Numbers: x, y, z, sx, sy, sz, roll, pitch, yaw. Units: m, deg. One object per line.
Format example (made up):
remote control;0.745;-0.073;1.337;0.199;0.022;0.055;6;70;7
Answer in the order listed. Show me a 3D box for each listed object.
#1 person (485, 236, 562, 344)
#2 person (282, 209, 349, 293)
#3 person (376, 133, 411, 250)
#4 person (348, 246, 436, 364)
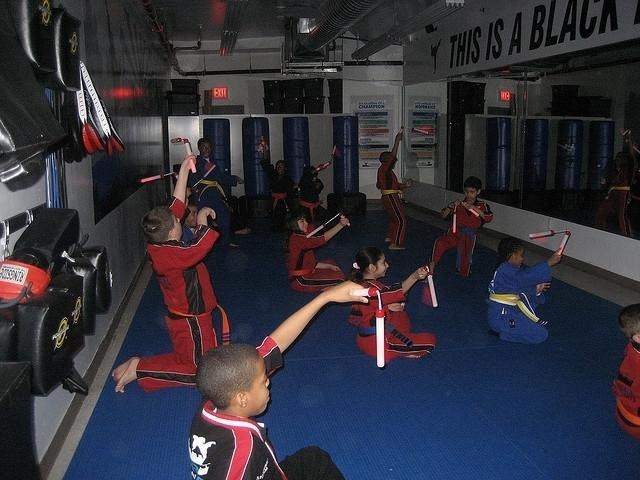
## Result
person;1.995;0.455;4.193;0.567;0.957;0.602;8;20;29
person;-0.067;0.168;5.791;0.787;1.121;0.607;-18;45;-14
person;1.306;-0.934;7.663;0.538;2.021;1.251;1;17;9
person;0.671;0.616;3.839;0.615;0.825;0.674;-11;29;-14
